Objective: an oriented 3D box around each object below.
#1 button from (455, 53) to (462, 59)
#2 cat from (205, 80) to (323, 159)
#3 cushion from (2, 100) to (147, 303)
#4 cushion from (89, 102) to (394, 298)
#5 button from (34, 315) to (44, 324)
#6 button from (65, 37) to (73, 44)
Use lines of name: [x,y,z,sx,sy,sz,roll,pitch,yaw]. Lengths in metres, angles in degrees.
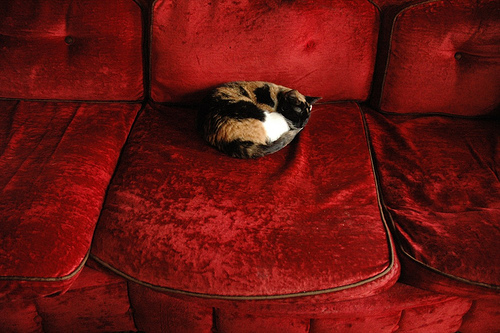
button: [0.730,-0.386,1.337,0.019,0.017,0.004,-4,0,-2]
cat: [0.028,-0.152,1.224,0.302,0.097,0.277,23,55,18]
cushion: [-0.611,0.138,1.374,0.604,0.134,0.544,3,62,-8]
cushion: [-0.025,0.075,1.201,0.839,0.284,0.625,4,35,-3]
button: [-0.676,0.486,1.218,0.030,0.026,0.008,-14,15,-34]
button: [-0.648,-0.447,1.362,0.020,0.018,0.005,2,4,-4]
